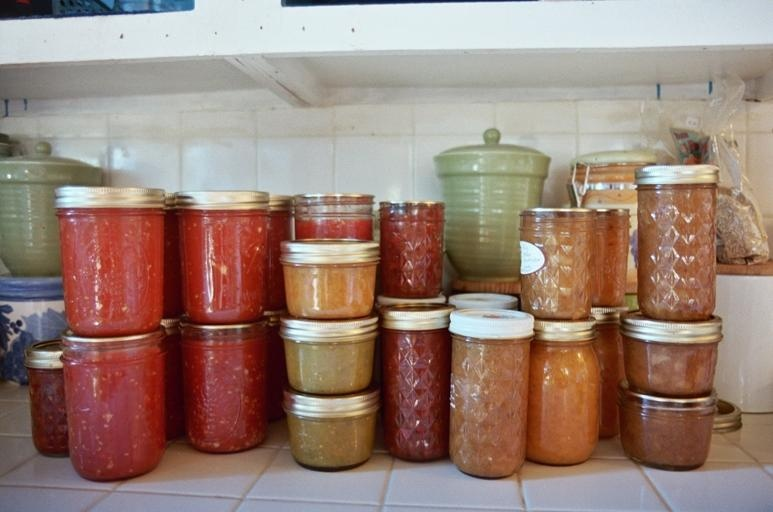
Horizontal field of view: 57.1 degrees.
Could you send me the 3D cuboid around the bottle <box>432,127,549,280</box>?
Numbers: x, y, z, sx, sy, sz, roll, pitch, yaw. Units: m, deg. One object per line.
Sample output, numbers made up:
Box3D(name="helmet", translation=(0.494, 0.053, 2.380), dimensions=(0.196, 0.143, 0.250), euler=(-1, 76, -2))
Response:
Box3D(name="bottle", translation=(0.314, -0.164, 2.112), dimensions=(0.364, 0.401, 0.340), euler=(1, 1, -31))
